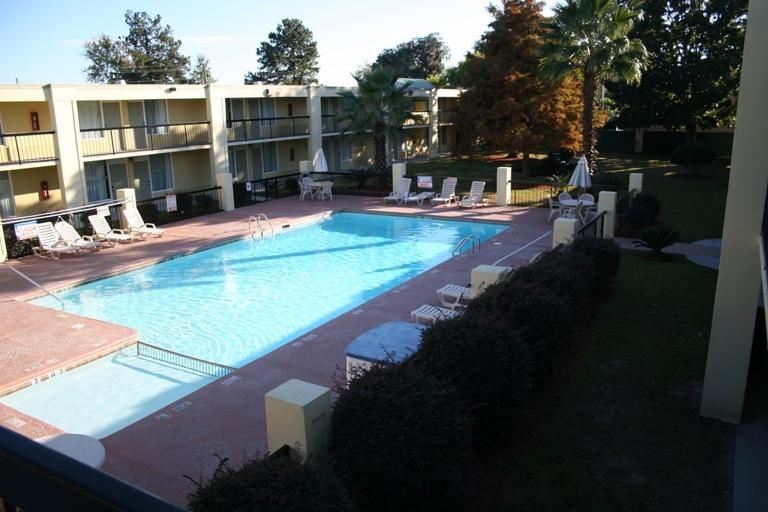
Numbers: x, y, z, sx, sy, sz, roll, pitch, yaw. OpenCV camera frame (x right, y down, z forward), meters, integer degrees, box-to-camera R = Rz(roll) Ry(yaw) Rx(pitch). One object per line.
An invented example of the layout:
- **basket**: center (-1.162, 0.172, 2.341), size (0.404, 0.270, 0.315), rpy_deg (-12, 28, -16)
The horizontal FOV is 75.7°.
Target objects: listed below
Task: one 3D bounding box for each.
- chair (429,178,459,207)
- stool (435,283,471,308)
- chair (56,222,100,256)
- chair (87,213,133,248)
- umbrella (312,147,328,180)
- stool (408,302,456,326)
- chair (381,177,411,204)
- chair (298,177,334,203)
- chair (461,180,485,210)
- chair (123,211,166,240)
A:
- **chair**: center (3.230, -3.219, 26.456), size (1.271, 1.242, 1.685), rpy_deg (2, 15, 11)
- **stool**: center (1.906, 1.033, 13.454), size (0.594, 0.303, 0.718), rpy_deg (0, 20, 33)
- **chair**: center (-11.999, -0.575, 19.336), size (1.856, 0.859, 0.930), rpy_deg (27, 31, 19)
- **chair**: center (-11.074, -0.971, 20.332), size (2.105, 1.171, 1.048), rpy_deg (9, 15, 22)
- **umbrella**: center (-3.992, -5.278, 30.352), size (0.827, 1.747, 1.500), rpy_deg (-3, 15, -8)
- **stool**: center (0.983, 1.292, 11.651), size (0.748, 0.265, 0.843), rpy_deg (8, 15, 33)
- **chair**: center (0.797, -3.359, 27.157), size (1.176, 1.188, 1.753), rpy_deg (1, 14, 8)
- **chair**: center (-4.055, -3.697, 29.114), size (1.896, 1.118, 1.752), rpy_deg (-3, 14, -8)
- **chair**: center (4.577, -3.018, 25.778), size (0.974, 1.145, 1.826), rpy_deg (6, 16, 24)
- **chair**: center (-10.498, -1.267, 21.523), size (1.917, 1.070, 0.955), rpy_deg (12, 19, 25)
